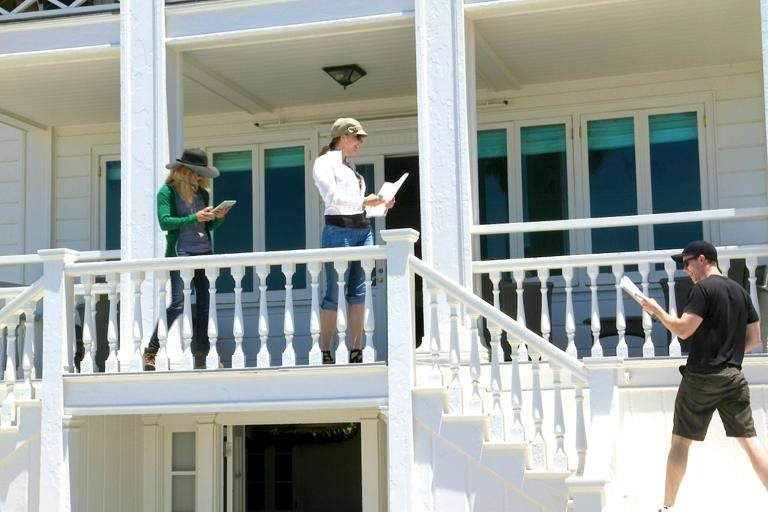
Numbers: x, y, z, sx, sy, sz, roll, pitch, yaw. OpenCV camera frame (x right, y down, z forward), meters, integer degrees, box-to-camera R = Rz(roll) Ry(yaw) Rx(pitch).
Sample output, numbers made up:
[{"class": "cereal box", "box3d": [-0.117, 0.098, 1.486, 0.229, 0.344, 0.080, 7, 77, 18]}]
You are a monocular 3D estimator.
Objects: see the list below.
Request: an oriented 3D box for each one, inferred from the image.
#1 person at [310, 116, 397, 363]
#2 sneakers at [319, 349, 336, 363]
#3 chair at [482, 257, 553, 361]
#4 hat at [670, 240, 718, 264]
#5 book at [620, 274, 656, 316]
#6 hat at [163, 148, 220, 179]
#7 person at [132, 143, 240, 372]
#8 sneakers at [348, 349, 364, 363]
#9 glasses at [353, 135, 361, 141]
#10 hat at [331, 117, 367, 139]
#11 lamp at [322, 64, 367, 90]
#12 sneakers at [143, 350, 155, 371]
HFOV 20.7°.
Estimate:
[{"class": "person", "box3d": [-0.427, -0.137, 22.634, 0.690, 2.566, 0.569, -1, -4, -2]}, {"class": "sneakers", "box3d": [-0.656, 1.084, 22.647, 0.142, 0.187, 0.226, -1, -1, 37]}, {"class": "chair", "box3d": [1.565, 0.668, 24.630, 1.099, 1.347, 0.988, 0, -7, 0]}, {"class": "hat", "box3d": [3.216, -0.015, 21.851, 0.378, 0.162, 0.226, 5, -4, 13]}, {"class": "book", "box3d": [2.533, 0.378, 21.572, 0.223, 0.290, 0.385, -3, -5, 33]}, {"class": "hat", "box3d": [-2.121, -0.963, 22.922, 0.466, 0.168, 0.354, 12, 9, -18]}, {"class": "person", "box3d": [-2.182, 0.026, 22.794, 0.886, 2.377, 1.110, 0, -4, -6]}, {"class": "sneakers", "box3d": [-0.329, 1.064, 22.605, 0.138, 0.135, 0.174, -1, -4, -1]}, {"class": "glasses", "box3d": [-0.317, -1.217, 22.748, 0.079, 0.067, 0.056, -2, 13, 25]}, {"class": "hat", "box3d": [-0.408, -1.322, 22.745, 0.360, 0.145, 0.231, -1, 3, 5]}, {"class": "lamp", "box3d": [-0.496, -2.064, 25.071, 0.326, 0.148, 0.304, -5, -27, 5]}, {"class": "sneakers", "box3d": [-2.578, 1.120, 22.772, 0.128, 0.231, 0.430, 0, -4, -8]}]
